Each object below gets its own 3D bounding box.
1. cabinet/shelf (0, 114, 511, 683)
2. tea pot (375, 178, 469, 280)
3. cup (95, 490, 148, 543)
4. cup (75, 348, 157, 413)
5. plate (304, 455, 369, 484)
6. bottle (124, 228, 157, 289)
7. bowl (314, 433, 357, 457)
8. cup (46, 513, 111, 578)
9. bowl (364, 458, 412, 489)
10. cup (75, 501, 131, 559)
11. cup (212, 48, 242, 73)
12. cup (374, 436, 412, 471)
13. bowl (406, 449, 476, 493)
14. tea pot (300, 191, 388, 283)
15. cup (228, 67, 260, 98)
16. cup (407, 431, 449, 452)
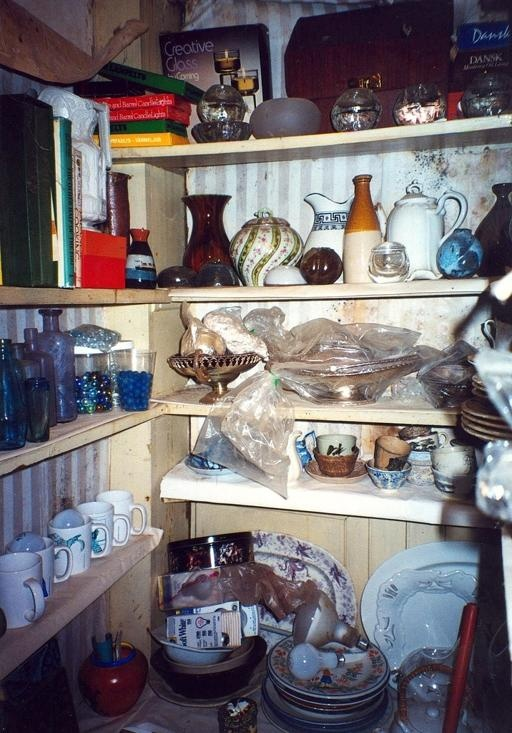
[{"bbox_3d":[-0.004,0.071,1.343,1.209,1.141,0.284,1,9,11],"label":"cabinet/shelf"},{"bbox_3d":[0.375,-0.302,1.271,0.185,0.214,0.135,-2,7,3],"label":"tea pot"},{"bbox_3d":[-0.292,0.362,1.301,0.118,0.108,0.077,-27,-34,27],"label":"cup"},{"bbox_3d":[-0.310,0.026,1.261,0.122,0.115,0.154,1,4,-5],"label":"cup"},{"bbox_3d":[0.196,0.246,1.375,0.150,0.024,0.150,-3,8,0],"label":"plate"},{"bbox_3d":[-0.270,-0.252,1.342,0.064,0.140,0.131,-4,8,-6],"label":"bottle"},{"bbox_3d":[0.188,0.179,1.332,0.084,0.039,0.101,5,11,41],"label":"bowl"},{"bbox_3d":[-0.351,0.353,1.166,0.111,0.115,0.067,0,-7,-26],"label":"cup"},{"bbox_3d":[0.297,0.245,1.283,0.096,0.053,0.078,-1,8,14],"label":"bowl"},{"bbox_3d":[-0.320,0.357,1.246,0.099,0.086,0.063,5,-12,-40],"label":"cup"},{"bbox_3d":[-0.073,-0.768,1.442,0.061,0.045,0.059,-1,40,1],"label":"cup"},{"bbox_3d":[0.302,0.190,1.259,0.066,0.057,0.074,18,17,16],"label":"cup"},{"bbox_3d":[0.397,0.217,1.240,0.082,0.089,0.125,-2,7,-21],"label":"bowl"},{"bbox_3d":[0.211,-0.306,1.371,0.196,0.216,0.130,-4,2,0],"label":"tea pot"},{"bbox_3d":[-0.028,-0.714,1.452,0.060,0.046,0.062,4,15,-1],"label":"cup"},{"bbox_3d":[0.388,0.168,1.299,0.073,0.050,0.048,-20,-1,0],"label":"cup"}]
